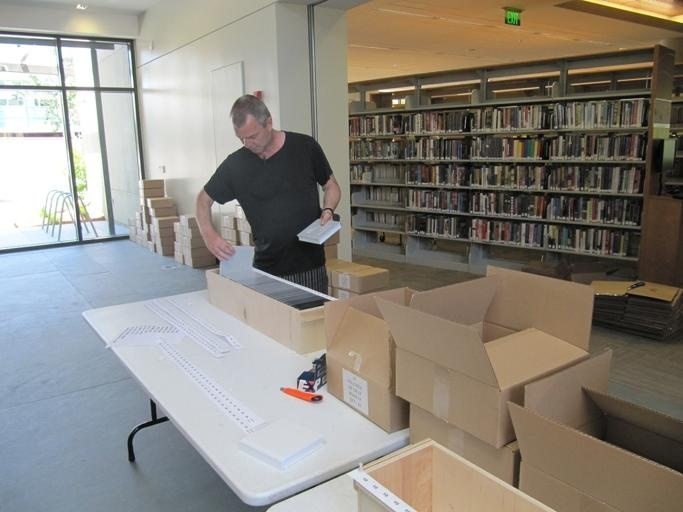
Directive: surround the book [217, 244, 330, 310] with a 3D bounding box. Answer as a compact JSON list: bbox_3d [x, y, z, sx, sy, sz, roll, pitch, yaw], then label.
[{"bbox_3d":[-0.336,0.050,2.330,0.245,0.174,0.697,-14,23,-37],"label":"book"}]
